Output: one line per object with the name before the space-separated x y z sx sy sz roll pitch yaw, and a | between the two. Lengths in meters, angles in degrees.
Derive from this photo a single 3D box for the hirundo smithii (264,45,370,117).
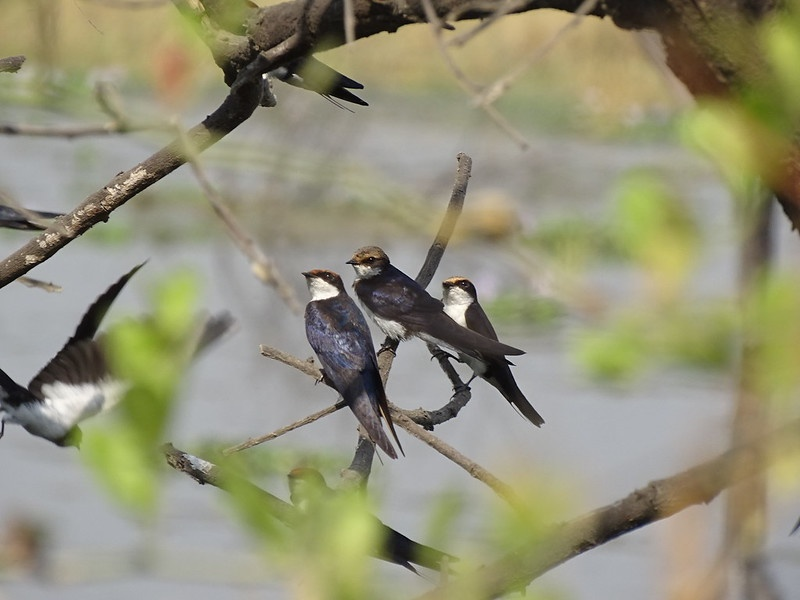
hirundo smithii | -0.245 -0.572 3.729 0.219 0.173 0.435 -1 27 -18

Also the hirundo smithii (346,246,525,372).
hirundo smithii | 0.094 0.016 4.357 0.597 0.314 0.140 8 3 23
